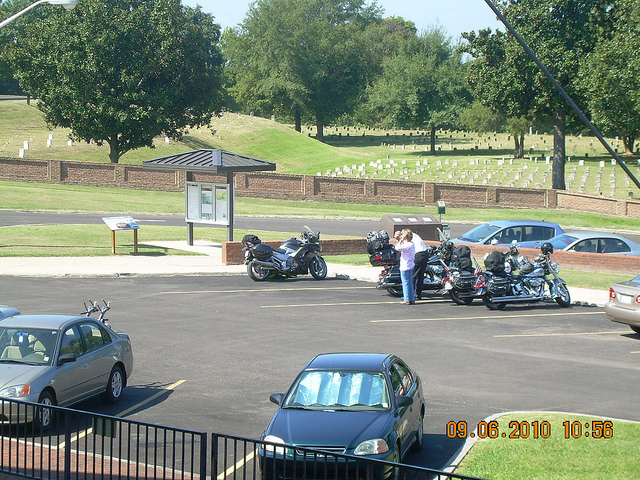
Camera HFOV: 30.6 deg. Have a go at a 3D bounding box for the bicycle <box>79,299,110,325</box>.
[{"bbox_3d":[-6.966,2.292,38.081,0.798,0.639,1.161,-12,-12,34],"label":"bicycle"}]

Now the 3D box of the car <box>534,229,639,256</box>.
[{"bbox_3d":[12.138,-0.002,52.582,3.704,1.259,1.936,-1,14,4],"label":"car"}]

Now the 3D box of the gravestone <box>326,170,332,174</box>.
[{"bbox_3d":[0.628,-5.922,100.467,0.611,0.536,0.421,0,11,4],"label":"gravestone"}]

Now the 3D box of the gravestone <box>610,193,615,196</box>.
[{"bbox_3d":[20.108,-3.233,81.232,0.248,0.241,0.239,-1,7,1],"label":"gravestone"}]

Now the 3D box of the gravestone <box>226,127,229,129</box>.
[{"bbox_3d":[-9.573,-11.697,120.746,0.345,0.081,0.349,-10,22,-28],"label":"gravestone"}]

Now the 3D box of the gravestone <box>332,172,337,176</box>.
[{"bbox_3d":[1.116,-5.553,96.918,0.412,0.281,0.399,1,-1,-35],"label":"gravestone"}]

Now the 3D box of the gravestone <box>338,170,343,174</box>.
[{"bbox_3d":[1.604,-5.826,98.551,0.470,0.130,0.416,3,24,7],"label":"gravestone"}]

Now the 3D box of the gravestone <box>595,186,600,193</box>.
[{"bbox_3d":[19.491,-3.685,83.430,0.479,0.526,0.465,-1,0,13],"label":"gravestone"}]

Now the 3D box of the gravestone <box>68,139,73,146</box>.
[{"bbox_3d":[-19.952,-7.913,93.757,0.674,0.619,0.227,6,10,34],"label":"gravestone"}]

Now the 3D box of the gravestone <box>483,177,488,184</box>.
[{"bbox_3d":[12.569,-4.696,90.169,0.487,0.518,0.486,4,9,28],"label":"gravestone"}]

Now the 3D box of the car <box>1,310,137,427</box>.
[{"bbox_3d":[-7.852,3.623,35.884,1.741,1.936,4.269,2,0,45],"label":"car"}]

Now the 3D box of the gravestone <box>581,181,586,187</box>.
[{"bbox_3d":[19.498,-4.312,87.478,0.447,0.397,0.323,-1,-9,0],"label":"gravestone"}]

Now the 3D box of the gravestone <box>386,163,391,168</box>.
[{"bbox_3d":[5.771,-6.508,100.675,0.364,0.085,0.380,-1,11,0],"label":"gravestone"}]
